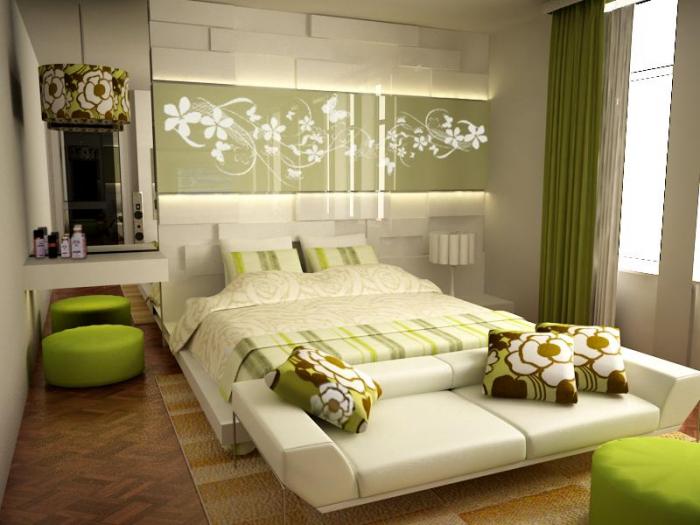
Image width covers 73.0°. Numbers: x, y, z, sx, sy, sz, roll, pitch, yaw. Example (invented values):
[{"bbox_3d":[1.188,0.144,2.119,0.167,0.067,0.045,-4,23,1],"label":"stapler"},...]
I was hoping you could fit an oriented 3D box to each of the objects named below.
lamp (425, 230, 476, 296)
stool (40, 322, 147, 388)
[{"bbox_3d":[1.160,0.045,5.301,0.682,0.826,0.687,3,15,16],"label":"lamp"},{"bbox_3d":[-2.064,0.771,3.828,0.711,0.390,0.460,-5,11,-28],"label":"stool"}]
